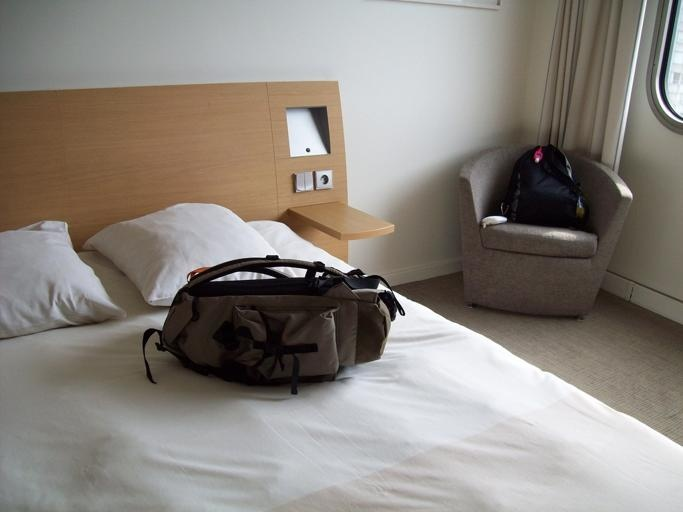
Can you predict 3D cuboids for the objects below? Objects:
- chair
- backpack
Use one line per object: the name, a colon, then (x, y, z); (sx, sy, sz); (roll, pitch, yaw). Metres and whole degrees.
chair: (1.219, -0.147, 3.403); (0.909, 0.931, 0.859); (4, 20, 10)
backpack: (1.289, -0.437, 3.346); (0.391, 0.502, 0.526); (0, 13, -19)
